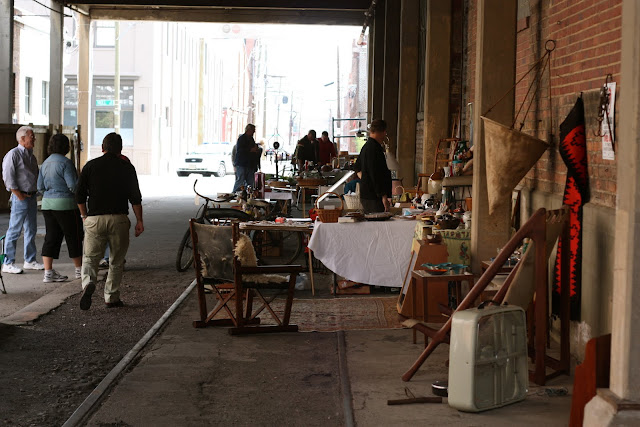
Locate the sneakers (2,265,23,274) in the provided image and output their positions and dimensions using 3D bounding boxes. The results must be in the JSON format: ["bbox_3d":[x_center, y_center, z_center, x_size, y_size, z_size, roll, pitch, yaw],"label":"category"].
[{"bbox_3d":[-4.783,0.862,9.921,0.336,0.173,0.134,1,4,-2],"label":"sneakers"}]

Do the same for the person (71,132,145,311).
[{"bbox_3d":[-2.785,0.085,8.461,0.807,2.249,0.571,-4,10,-21],"label":"person"}]

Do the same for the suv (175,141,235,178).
[{"bbox_3d":[-5.576,-2.851,31.116,1.804,1.333,3.775,-2,-2,10],"label":"suv"}]

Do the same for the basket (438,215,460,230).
[{"bbox_3d":[1.622,0.116,8.112,0.199,0.095,0.201,-5,-7,42],"label":"basket"}]

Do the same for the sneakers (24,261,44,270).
[{"bbox_3d":[-4.558,0.839,10.206,0.352,0.174,0.140,1,5,-5],"label":"sneakers"}]

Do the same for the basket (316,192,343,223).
[{"bbox_3d":[0.129,-0.048,9.164,0.443,0.576,0.578,-1,-12,0],"label":"basket"}]

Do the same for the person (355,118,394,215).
[{"bbox_3d":[0.821,-0.693,9.518,0.467,1.396,0.509,0,9,3],"label":"person"}]

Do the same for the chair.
[{"bbox_3d":[-0.907,0.745,7.594,0.902,1.323,1.119,2,-3,-39],"label":"chair"}]

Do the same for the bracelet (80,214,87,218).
[{"bbox_3d":[-3.223,0.034,8.666,0.050,0.051,0.052,3,-12,-23],"label":"bracelet"}]

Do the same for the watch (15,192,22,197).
[{"bbox_3d":[-4.659,-0.299,9.811,0.066,0.084,0.091,1,-24,-7],"label":"watch"}]

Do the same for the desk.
[{"bbox_3d":[-0.555,0.714,9.176,1.191,1.194,0.954,-1,-2,1],"label":"desk"}]

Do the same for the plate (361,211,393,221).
[{"bbox_3d":[0.811,0.038,8.932,0.414,0.091,0.242,-1,10,-2],"label":"plate"}]

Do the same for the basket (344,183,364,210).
[{"bbox_3d":[0.499,-0.238,9.743,0.326,0.362,0.293,-3,5,-22],"label":"basket"}]

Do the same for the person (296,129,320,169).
[{"bbox_3d":[-0.393,-2.018,19.372,0.684,1.016,1.042,-1,10,-2],"label":"person"}]
